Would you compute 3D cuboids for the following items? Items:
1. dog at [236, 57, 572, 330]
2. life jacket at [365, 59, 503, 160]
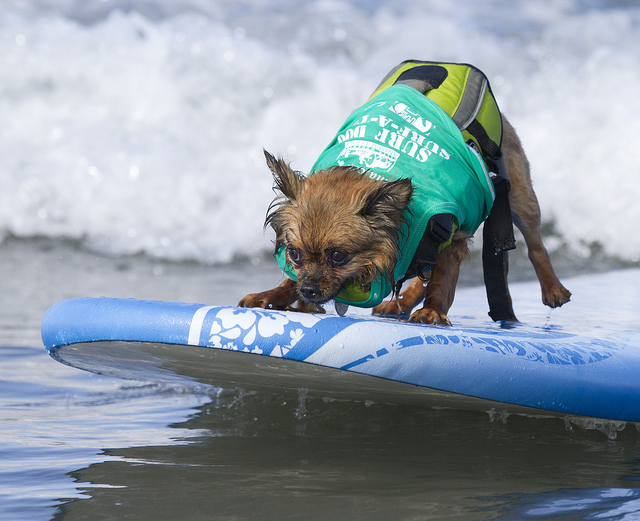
[{"bbox_3d":[0.463,-0.342,6.028,1.142,1.367,2.537,10,28,26],"label":"dog"},{"bbox_3d":[0.651,-0.836,5.923,0.717,0.527,0.570,6,12,24],"label":"life jacket"}]
